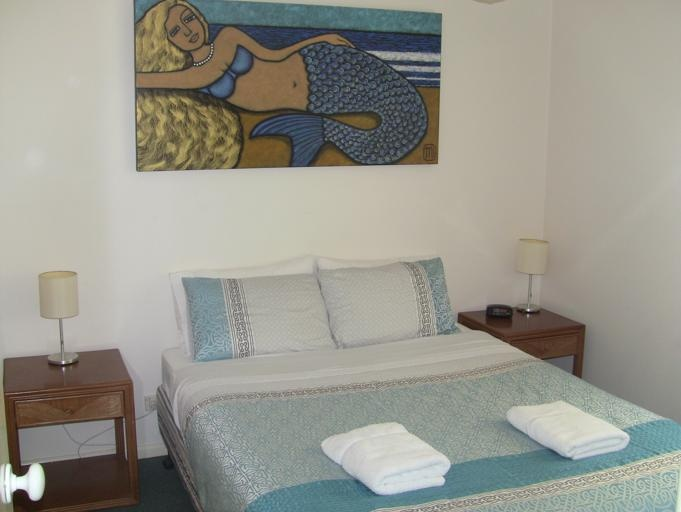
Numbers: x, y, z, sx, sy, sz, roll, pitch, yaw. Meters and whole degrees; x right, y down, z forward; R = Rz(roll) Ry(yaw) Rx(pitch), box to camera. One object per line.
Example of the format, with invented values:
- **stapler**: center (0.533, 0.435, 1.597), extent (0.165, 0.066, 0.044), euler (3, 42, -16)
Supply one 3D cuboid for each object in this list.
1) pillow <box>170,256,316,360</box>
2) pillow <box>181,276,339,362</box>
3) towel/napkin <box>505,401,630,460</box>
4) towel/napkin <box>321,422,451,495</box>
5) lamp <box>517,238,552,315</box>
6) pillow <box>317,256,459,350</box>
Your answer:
- **pillow**: center (-0.491, 0.349, 3.221), extent (0.935, 0.513, 0.183), euler (-5, 10, 21)
- **pillow**: center (-0.478, 0.360, 3.182), extent (0.872, 0.476, 0.219), euler (-4, -16, -16)
- **towel/napkin**: center (0.947, 0.729, 2.348), extent (0.246, 0.078, 0.254), euler (-6, 14, -20)
- **towel/napkin**: center (0.196, 0.795, 2.163), extent (0.458, 0.145, 0.336), euler (-7, 6, -18)
- **lamp**: center (1.445, 0.145, 4.092), extent (0.252, 0.548, 0.349), euler (-4, 7, 20)
- **pillow**: center (0.270, 0.278, 3.506), extent (0.934, 0.496, 0.239), euler (-2, -19, -20)
